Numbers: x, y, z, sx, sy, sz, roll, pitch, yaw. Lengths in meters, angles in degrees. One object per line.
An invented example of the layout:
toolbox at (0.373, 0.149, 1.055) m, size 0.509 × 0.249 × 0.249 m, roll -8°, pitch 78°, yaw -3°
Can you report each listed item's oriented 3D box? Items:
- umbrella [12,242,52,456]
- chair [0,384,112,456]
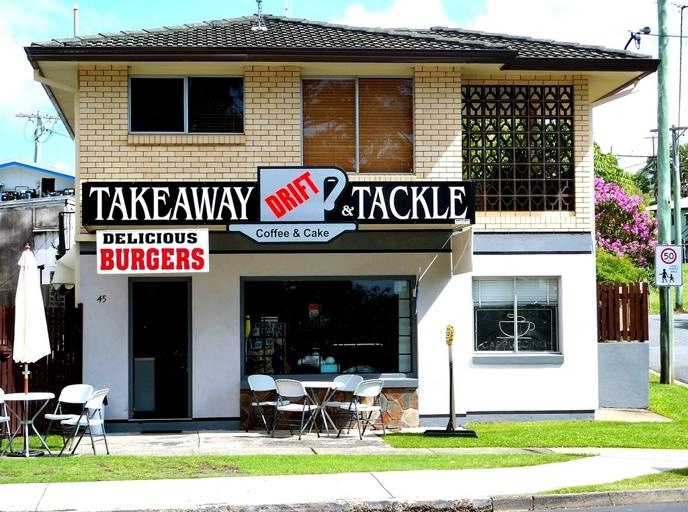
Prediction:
umbrella at (-6.236, 1.796, 20.396) m, size 0.692 × 3.960 × 2.096 m, roll -1°, pitch 6°, yaw -17°
chair at (-5.441, 3.346, 20.700) m, size 1.201 × 1.473 × 2.068 m, roll -1°, pitch -17°, yaw 6°
